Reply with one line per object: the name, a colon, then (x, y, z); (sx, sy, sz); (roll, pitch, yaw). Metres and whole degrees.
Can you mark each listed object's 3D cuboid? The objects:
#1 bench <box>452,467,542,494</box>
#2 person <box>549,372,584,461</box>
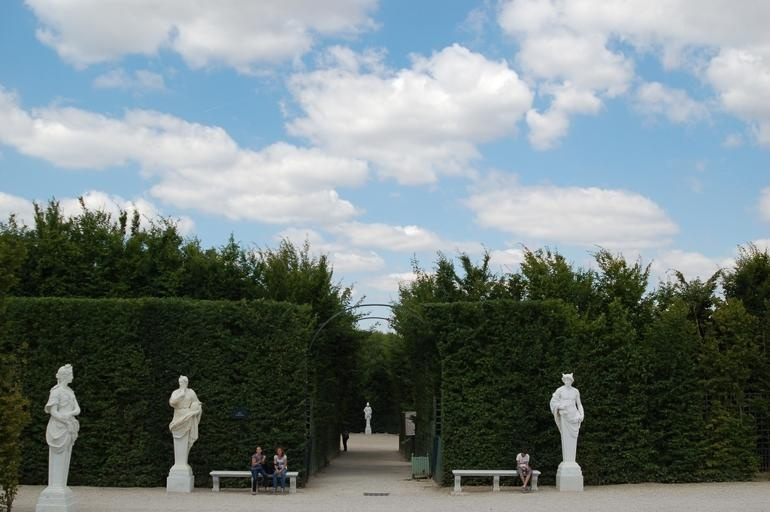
bench: (3.956, 8.022, 38.718); (2.973, 0.880, 1.430); (-1, -12, 2)
person: (6.482, 5.700, 38.342); (1.036, 3.034, 0.799); (-7, -13, 31)
